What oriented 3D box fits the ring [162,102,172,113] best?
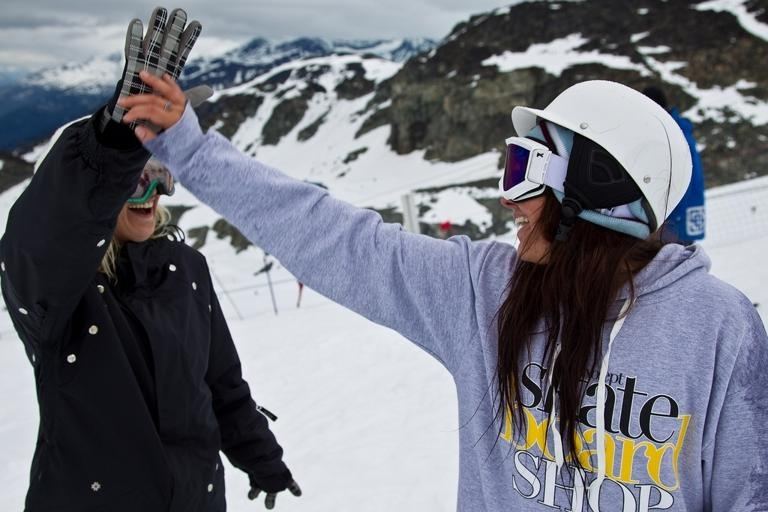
[{"bbox_3d":[-0.974,-0.678,4.564,0.033,0.037,0.025,14,23,41],"label":"ring"}]
